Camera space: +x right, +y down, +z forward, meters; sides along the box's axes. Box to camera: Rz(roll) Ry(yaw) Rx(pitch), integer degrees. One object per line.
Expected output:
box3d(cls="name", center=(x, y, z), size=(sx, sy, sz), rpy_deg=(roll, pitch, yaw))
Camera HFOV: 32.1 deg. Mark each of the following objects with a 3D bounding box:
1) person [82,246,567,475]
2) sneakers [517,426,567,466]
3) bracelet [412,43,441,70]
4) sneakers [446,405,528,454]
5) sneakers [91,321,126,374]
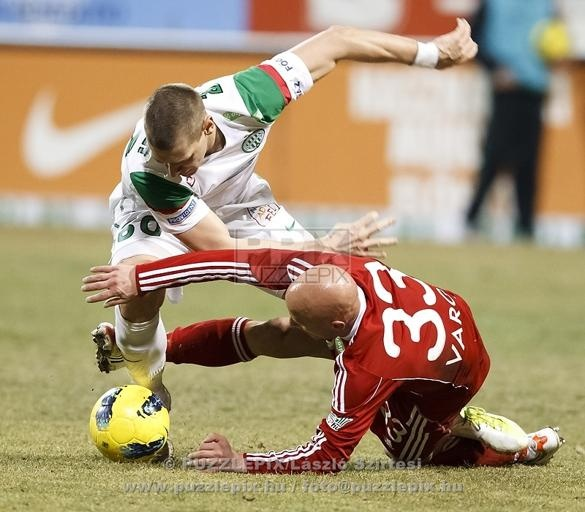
box3d(cls="person", center=(0.223, 0.417, 4.983), size=(2.181, 0.914, 1.120), rpy_deg=(0, 24, -11))
box3d(cls="sneakers", center=(1.255, 0.945, 5.081), size=(0.224, 0.153, 0.101), rpy_deg=(-33, -21, 14))
box3d(cls="bracelet", center=(0.755, -1.117, 5.683), size=(0.123, 0.146, 0.120), rpy_deg=(5, 48, 3))
box3d(cls="sneakers", center=(0.974, 0.898, 5.086), size=(0.316, 0.105, 0.223), rpy_deg=(15, 8, -4))
box3d(cls="sneakers", center=(-0.993, 0.493, 5.454), size=(0.125, 0.308, 0.155), rpy_deg=(-15, 1, -6))
